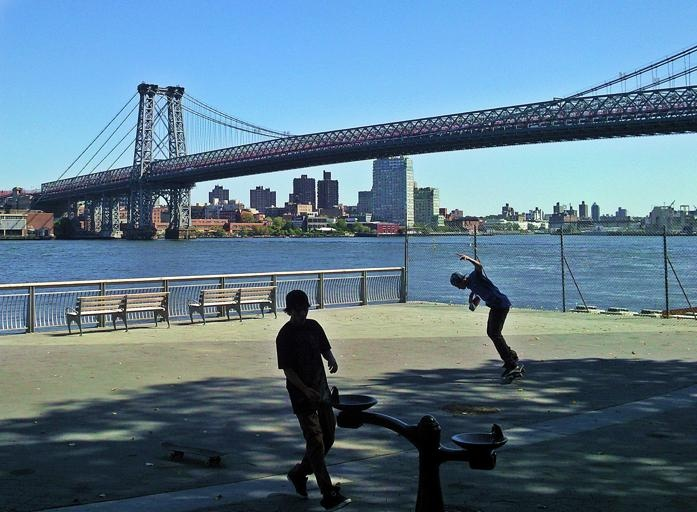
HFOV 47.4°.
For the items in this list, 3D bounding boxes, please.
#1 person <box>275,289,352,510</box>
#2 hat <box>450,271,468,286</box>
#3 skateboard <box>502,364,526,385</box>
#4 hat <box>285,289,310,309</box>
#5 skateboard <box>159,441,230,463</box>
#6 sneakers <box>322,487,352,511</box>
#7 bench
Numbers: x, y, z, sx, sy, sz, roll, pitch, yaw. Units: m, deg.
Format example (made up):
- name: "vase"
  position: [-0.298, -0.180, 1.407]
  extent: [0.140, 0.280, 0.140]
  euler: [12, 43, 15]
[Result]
- name: "person"
  position: [-0.322, 1.183, 6.763]
  extent: [0.529, 1.614, 0.676]
  euler: [-3, 0, -5]
- name: "hat"
  position: [1.548, 0.323, 11.264]
  extent: [0.242, 0.174, 0.261]
  euler: [11, -25, -15]
- name: "skateboard"
  position: [2.266, 1.646, 11.104]
  extent: [0.461, 0.172, 0.154]
  euler: [-20, 10, -41]
- name: "hat"
  position: [-0.436, 0.365, 6.798]
  extent: [0.227, 0.102, 0.152]
  euler: [-7, 8, -23]
- name: "skateboard"
  position: [-1.568, 1.870, 7.673]
  extent: [0.852, 0.146, 0.195]
  euler: [4, -4, 27]
- name: "sneakers"
  position: [-0.094, 2.002, 6.608]
  extent: [0.251, 0.168, 0.136]
  euler: [-2, 0, -35]
- name: "bench"
  position: [-3.813, 1.107, 17.051]
  extent: [1.621, 0.771, 4.839]
  euler: [-1, 1, 41]
